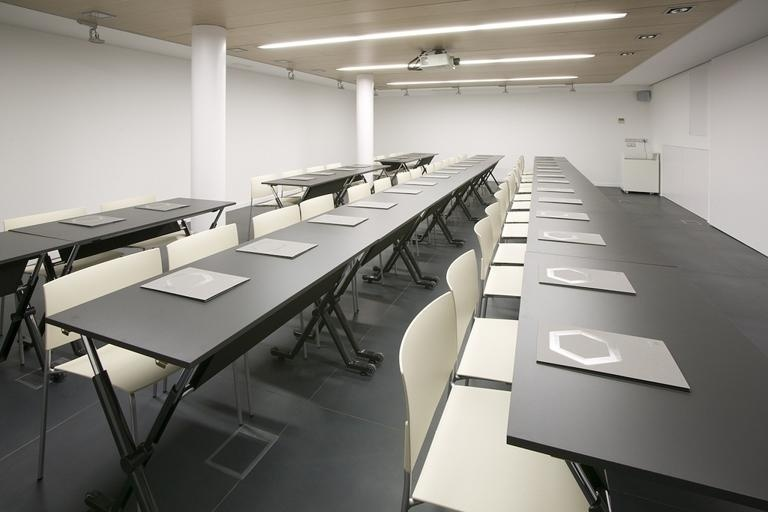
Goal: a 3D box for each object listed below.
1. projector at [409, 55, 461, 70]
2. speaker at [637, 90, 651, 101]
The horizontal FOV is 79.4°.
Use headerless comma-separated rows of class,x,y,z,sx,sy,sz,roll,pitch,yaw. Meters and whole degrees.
projector,0.859,-3.276,7.830,0.511,0.208,0.415,4,12,20
speaker,7.412,-4.559,13.164,0.317,0.292,0.152,4,14,29
